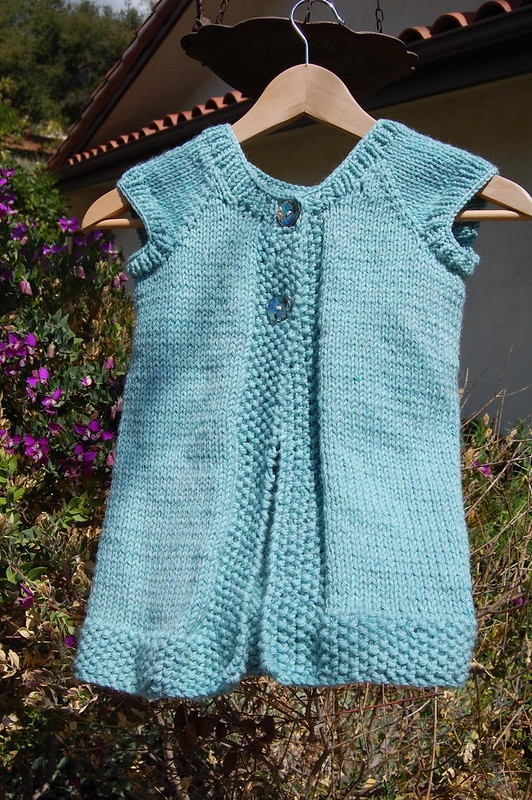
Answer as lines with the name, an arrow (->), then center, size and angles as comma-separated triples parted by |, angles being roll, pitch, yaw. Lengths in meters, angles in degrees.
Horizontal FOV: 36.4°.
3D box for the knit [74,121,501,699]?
knit -> 0.034, 0.006, 1.341 | 0.669, 0.970, 0.442 | 7, 13, -6
